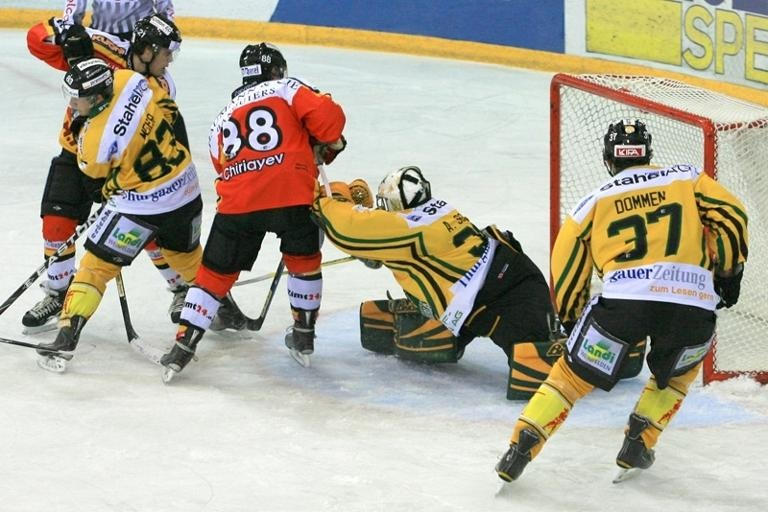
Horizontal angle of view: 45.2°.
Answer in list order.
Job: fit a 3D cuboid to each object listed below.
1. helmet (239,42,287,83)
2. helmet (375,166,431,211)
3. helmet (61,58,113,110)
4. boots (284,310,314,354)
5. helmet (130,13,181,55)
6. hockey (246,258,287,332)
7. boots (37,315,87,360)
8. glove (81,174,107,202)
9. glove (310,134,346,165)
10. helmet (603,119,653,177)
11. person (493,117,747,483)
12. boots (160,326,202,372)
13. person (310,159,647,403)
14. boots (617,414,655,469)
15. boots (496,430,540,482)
[{"bbox_3d":[-0.720,-1.112,5.486,0.254,0.236,0.294,1,6,20],"label":"helmet"},{"bbox_3d":[0.103,-0.377,5.217,0.228,0.213,0.301,-30,16,-29],"label":"helmet"},{"bbox_3d":[-1.612,-0.947,5.277,0.344,0.223,0.302,-15,-1,-14],"label":"helmet"},{"bbox_3d":[-0.490,0.455,5.499,0.165,0.248,0.279,1,14,-14],"label":"boots"},{"bbox_3d":[-1.345,-1.318,5.501,0.303,0.252,0.219,4,22,0],"label":"helmet"},{"bbox_3d":[-0.794,0.279,6.206,0.082,0.549,0.086,-16,-51,46],"label":"hockey"},{"bbox_3d":[-1.881,0.440,5.241,0.124,0.248,0.293,32,17,28],"label":"boots"},{"bbox_3d":[-1.724,-0.398,5.470,0.139,0.149,0.061,-3,8,-1],"label":"glove"},{"bbox_3d":[-0.341,-0.607,5.516,0.110,0.278,0.115,-5,52,-13],"label":"glove"},{"bbox_3d":[1.275,-0.543,4.778,0.327,0.318,0.356,-2,19,7],"label":"helmet"},{"bbox_3d":[1.192,0.323,4.492,1.011,1.522,0.597,9,17,-3],"label":"person"},{"bbox_3d":[-1.136,0.522,5.217,0.131,0.166,0.368,30,2,-13],"label":"boots"},{"bbox_3d":[0.563,0.178,5.326,1.169,0.946,2.187,-10,18,-43],"label":"person"},{"bbox_3d":[1.261,0.923,4.606,0.154,0.241,0.285,12,-2,33],"label":"boots"},{"bbox_3d":[0.644,0.962,4.516,0.170,0.285,0.121,42,-8,15],"label":"boots"}]
